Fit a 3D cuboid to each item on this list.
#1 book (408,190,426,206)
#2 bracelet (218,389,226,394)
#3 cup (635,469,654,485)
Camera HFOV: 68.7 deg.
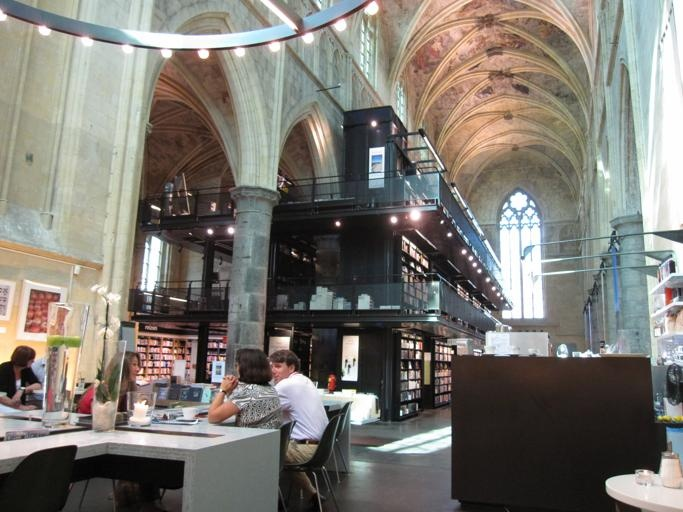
[{"bbox_3d":[2.064,-1.561,13.616,0.450,0.416,0.107,-2,-6,11],"label":"book"},{"bbox_3d":[-1.047,1.177,4.361,0.046,0.030,0.043,12,-31,-15],"label":"bracelet"},{"bbox_3d":[2.171,1.578,3.602,0.107,0.079,0.106,-1,-6,0],"label":"cup"}]
